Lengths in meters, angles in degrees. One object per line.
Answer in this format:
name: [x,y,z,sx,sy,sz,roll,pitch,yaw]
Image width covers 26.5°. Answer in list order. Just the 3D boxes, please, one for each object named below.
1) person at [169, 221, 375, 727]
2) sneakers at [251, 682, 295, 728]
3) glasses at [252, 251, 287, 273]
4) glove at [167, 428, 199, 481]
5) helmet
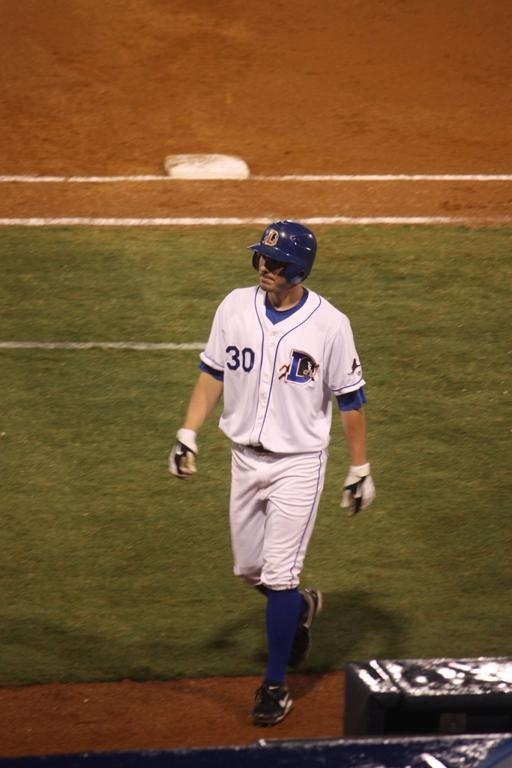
person: [0.084,0.341,4.359,0.555,1.928,0.765,-10,24,-40]
sneakers: [0.070,1.273,4.272,0.093,0.095,0.236,-1,-1,17]
glasses: [0.085,-0.467,4.249,0.092,0.042,0.131,32,19,29]
glove: [-0.296,0.296,4.421,0.163,0.175,0.094,1,8,-23]
helmet: [0.091,-0.535,4.316,0.301,0.213,0.258,1,25,-29]
